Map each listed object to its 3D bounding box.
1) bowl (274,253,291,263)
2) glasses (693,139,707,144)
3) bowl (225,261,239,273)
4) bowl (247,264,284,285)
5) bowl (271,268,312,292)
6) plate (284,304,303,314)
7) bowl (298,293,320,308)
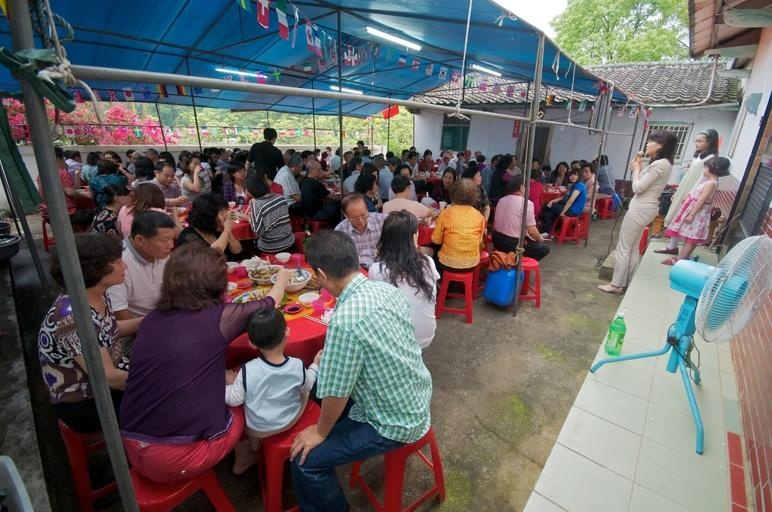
[{"bbox_3d":[-1.042,0.012,4.469,0.138,0.118,0.161,-4,19,-14],"label":"bowl"},{"bbox_3d":[4.974,-1.846,6.971,0.083,0.080,0.229,4,18,11],"label":"glasses"},{"bbox_3d":[-1.511,0.092,4.313,0.106,0.041,0.106,5,23,-2],"label":"bowl"},{"bbox_3d":[-1.125,0.155,4.197,0.251,0.090,0.253,2,14,0],"label":"bowl"},{"bbox_3d":[-0.835,0.204,4.112,0.249,0.098,0.244,3,29,-2],"label":"bowl"},{"bbox_3d":[-0.810,0.455,3.817,0.090,0.018,0.088,-12,29,-28],"label":"plate"},{"bbox_3d":[-0.685,0.380,3.940,0.167,0.080,0.172,1,18,0],"label":"bowl"}]
